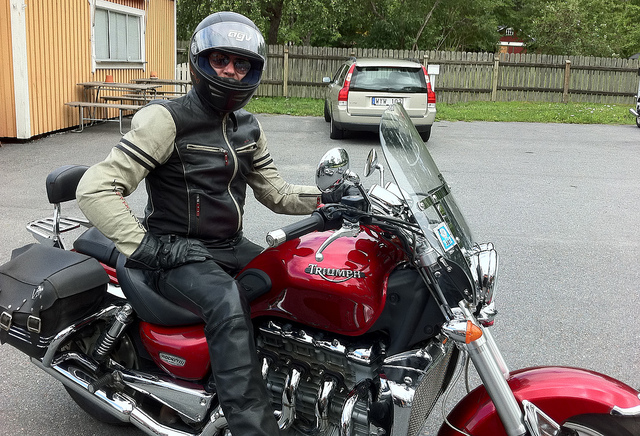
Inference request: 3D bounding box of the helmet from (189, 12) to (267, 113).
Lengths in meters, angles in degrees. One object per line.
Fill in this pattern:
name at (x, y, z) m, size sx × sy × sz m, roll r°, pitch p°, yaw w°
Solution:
helmet at (-0.615, -1.032, 3.359) m, size 0.431 × 0.581 × 0.582 m, roll -1°, pitch 26°, yaw -30°
